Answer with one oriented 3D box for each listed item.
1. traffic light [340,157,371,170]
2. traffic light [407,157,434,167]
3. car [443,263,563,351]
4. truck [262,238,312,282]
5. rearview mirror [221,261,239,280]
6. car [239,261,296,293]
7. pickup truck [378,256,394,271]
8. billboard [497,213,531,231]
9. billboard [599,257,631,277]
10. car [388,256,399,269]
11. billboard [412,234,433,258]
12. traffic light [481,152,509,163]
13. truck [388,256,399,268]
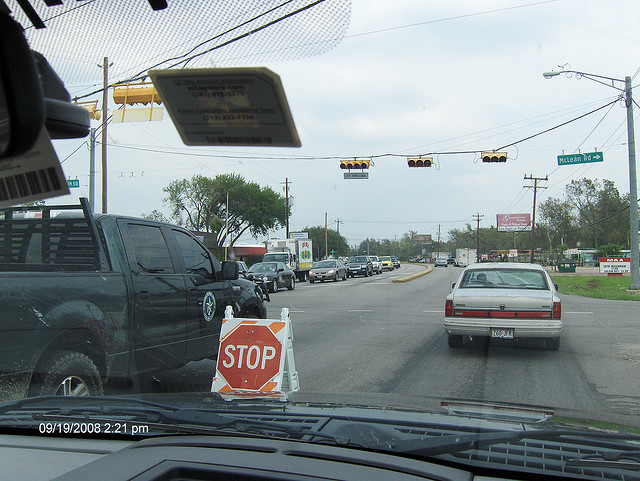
[{"bbox_3d":[1.386,-3.078,24.123,1.069,0.516,0.916,-1,-7,20],"label":"traffic light"},{"bbox_3d":[4.325,-3.373,25.930,0.990,0.505,0.765,1,-7,6],"label":"traffic light"},{"bbox_3d":[3.646,1.165,11.798,1.907,1.545,3.891,-2,-1,19],"label":"car"},{"bbox_3d":[-2.331,1.352,41.830,2.351,3.099,5.382,0,1,17],"label":"truck"},{"bbox_3d":[-1.209,0.395,8.083,0.247,0.269,0.068,0,24,-2],"label":"rearview mirror"},{"bbox_3d":[-2.342,1.681,28.681,1.304,0.986,3.028,-2,-7,17],"label":"car"},{"bbox_3d":[8.486,2.727,75.720,1.283,1.069,2.884,-3,-9,10],"label":"pickup truck"},{"bbox_3d":[35.564,-3.554,110.154,5.476,3.192,3.332,1,-6,7],"label":"billboard"},{"bbox_3d":[19.228,1.655,39.086,0.221,1.166,1.641,9,-9,-41],"label":"billboard"},{"bbox_3d":[10.227,2.953,83.409,1.347,1.273,2.994,-1,-6,7],"label":"car"},{"bbox_3d":[32.680,1.833,193.192,7.828,8.221,0.330,-2,-11,19],"label":"billboard"},{"bbox_3d":[7.524,-3.632,26.028,1.017,0.315,0.519,0,-7,11],"label":"traffic light"},{"bbox_3d":[10.310,2.950,83.799,1.355,1.216,3.024,-1,-5,6],"label":"truck"}]
